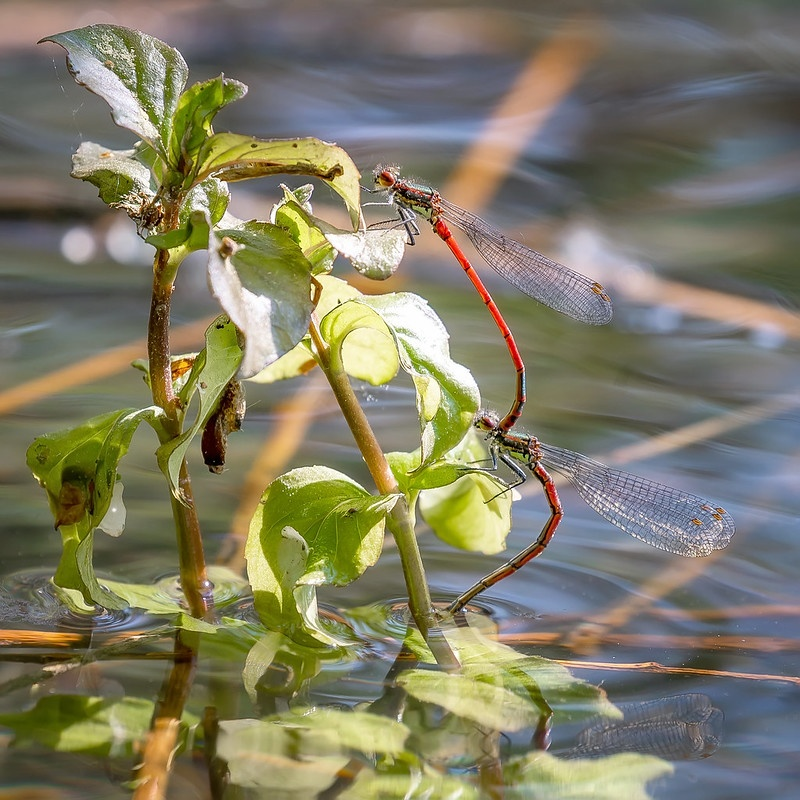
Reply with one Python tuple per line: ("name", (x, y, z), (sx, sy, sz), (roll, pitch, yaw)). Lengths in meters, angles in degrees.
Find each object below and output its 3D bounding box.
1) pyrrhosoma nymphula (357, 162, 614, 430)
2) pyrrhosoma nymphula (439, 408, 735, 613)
("pyrrhosoma nymphula", (0.070, -0.143, 1.143), (0.390, 0.163, 0.206), (51, 0, 37))
("pyrrhosoma nymphula", (0.169, 0.104, 0.936), (0.311, 0.118, 0.150), (7, 15, -29))
